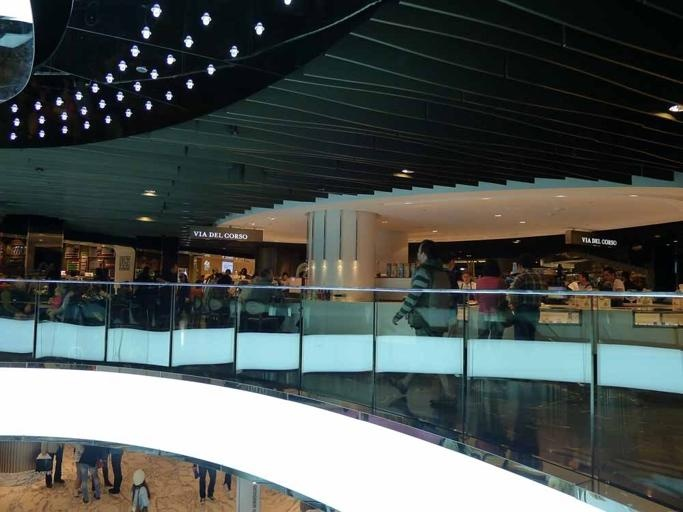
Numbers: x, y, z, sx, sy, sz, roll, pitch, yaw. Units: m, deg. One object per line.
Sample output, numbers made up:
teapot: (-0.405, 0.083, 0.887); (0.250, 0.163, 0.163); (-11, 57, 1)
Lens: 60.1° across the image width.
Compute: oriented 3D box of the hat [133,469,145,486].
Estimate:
hat: (-4.230, 4.693, 12.345); (0.190, 0.392, 0.395); (4, -5, -18)

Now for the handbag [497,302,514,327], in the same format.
handbag: (1.485, 0.548, 5.361); (0.060, 0.197, 0.153); (3, -4, -39)

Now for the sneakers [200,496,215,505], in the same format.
sneakers: (-3.551, 6.559, 15.682); (0.420, 0.154, 0.145); (0, 5, -3)

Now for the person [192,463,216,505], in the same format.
person: (-3.660, 6.163, 15.914); (0.552, 0.927, 0.816); (3, -5, -15)
